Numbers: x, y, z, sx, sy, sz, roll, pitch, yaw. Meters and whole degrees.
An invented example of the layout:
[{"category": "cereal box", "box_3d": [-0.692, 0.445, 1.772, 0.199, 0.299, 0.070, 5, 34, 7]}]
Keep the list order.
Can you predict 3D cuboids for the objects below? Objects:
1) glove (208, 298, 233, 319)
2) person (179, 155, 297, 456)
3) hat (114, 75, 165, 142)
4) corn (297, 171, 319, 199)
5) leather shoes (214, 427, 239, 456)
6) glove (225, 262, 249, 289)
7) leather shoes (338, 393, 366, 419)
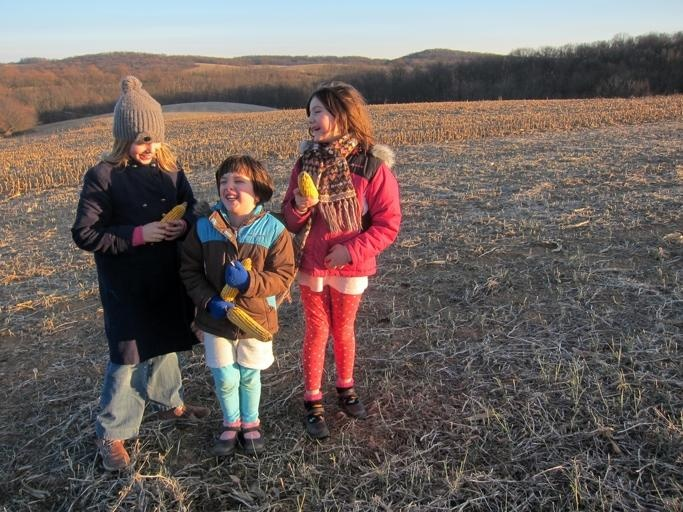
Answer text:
[{"category": "glove", "box_3d": [-0.863, 0.368, 3.662, 0.159, 0.168, 0.124, -15, 45, -2]}, {"category": "person", "box_3d": [-0.748, 0.366, 3.850, 0.815, 2.123, 0.722, -10, 21, -22]}, {"category": "hat", "box_3d": [-1.518, -1.086, 3.819, 0.357, 0.505, 0.471, -7, 17, -38]}, {"category": "corn", "box_3d": [-0.246, -0.503, 3.734, 0.111, 0.221, 0.071, -23, 0, -9]}, {"category": "leather shoes", "box_3d": [-0.880, 1.411, 3.853, 0.120, 0.096, 0.247, 3, 10, 4]}, {"category": "glove", "box_3d": [-0.733, 0.118, 3.589, 0.136, 0.204, 0.162, -4, 5, -30]}, {"category": "leather shoes", "box_3d": [0.090, 1.234, 4.230, 0.111, 0.143, 0.311, -16, 6, -18]}]
